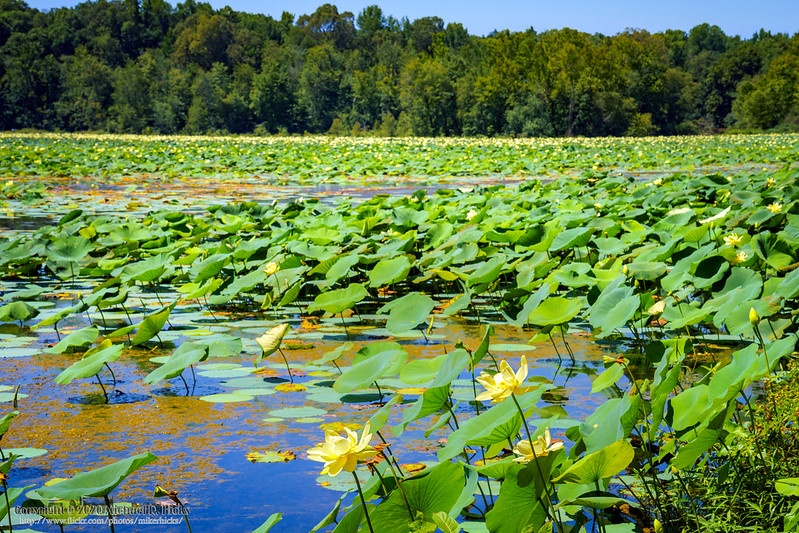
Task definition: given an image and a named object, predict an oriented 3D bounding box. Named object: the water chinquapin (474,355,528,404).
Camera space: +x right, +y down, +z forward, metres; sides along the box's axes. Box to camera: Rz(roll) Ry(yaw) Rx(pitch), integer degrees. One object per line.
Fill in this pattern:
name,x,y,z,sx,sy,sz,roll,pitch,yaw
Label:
water chinquapin,0.402,0.454,2.786,0.183,0.230,0.241,5,9,7
